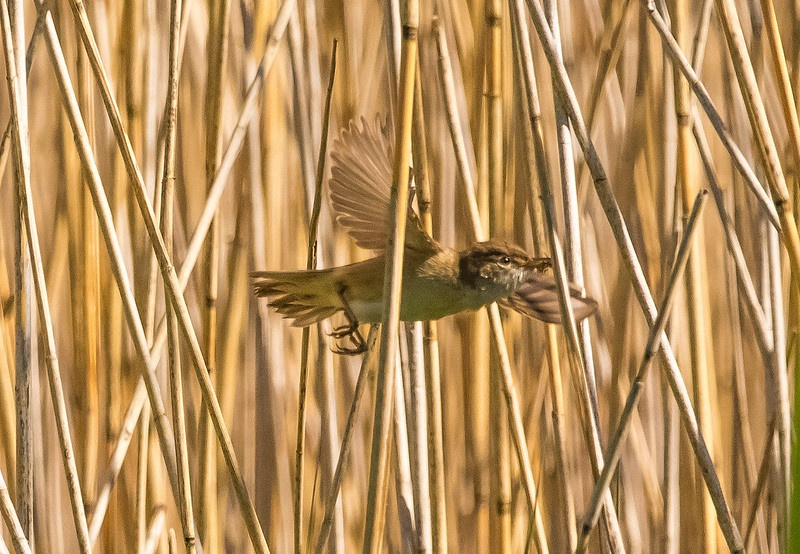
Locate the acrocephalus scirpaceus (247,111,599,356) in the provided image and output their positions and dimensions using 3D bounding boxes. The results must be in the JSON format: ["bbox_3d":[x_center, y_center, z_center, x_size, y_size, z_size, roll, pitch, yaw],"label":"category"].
[{"bbox_3d":[0.062,-0.022,3.585,0.441,0.533,0.321,24,83,28],"label":"acrocephalus scirpaceus"}]
